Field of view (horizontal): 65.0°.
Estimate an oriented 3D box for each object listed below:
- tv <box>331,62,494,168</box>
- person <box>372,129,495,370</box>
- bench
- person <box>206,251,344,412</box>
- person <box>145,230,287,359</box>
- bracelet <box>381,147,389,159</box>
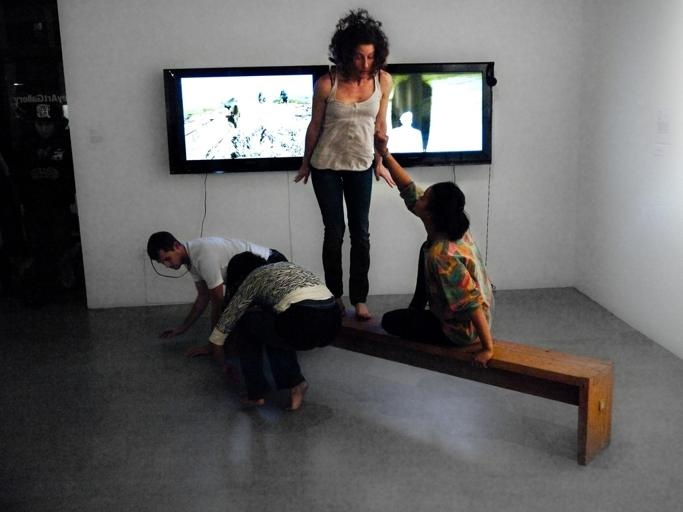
[{"bbox_3d":[0.525,-1.072,3.943,0.977,0.908,0.102,0,7,-6],"label":"tv"},{"bbox_3d":[0.489,-0.032,3.223,0.835,1.528,0.700,1,13,17],"label":"person"},{"bbox_3d":[0.885,0.701,3.009,0.268,0.371,1.412,-7,2,-23],"label":"bench"},{"bbox_3d":[-0.355,0.412,3.027,0.735,0.910,0.503,3,3,26],"label":"person"},{"bbox_3d":[-0.717,0.194,3.408,0.932,0.686,0.355,-8,14,-40],"label":"person"},{"bbox_3d":[0.271,-0.633,3.302,0.054,0.044,0.075,-2,1,1],"label":"bracelet"}]
